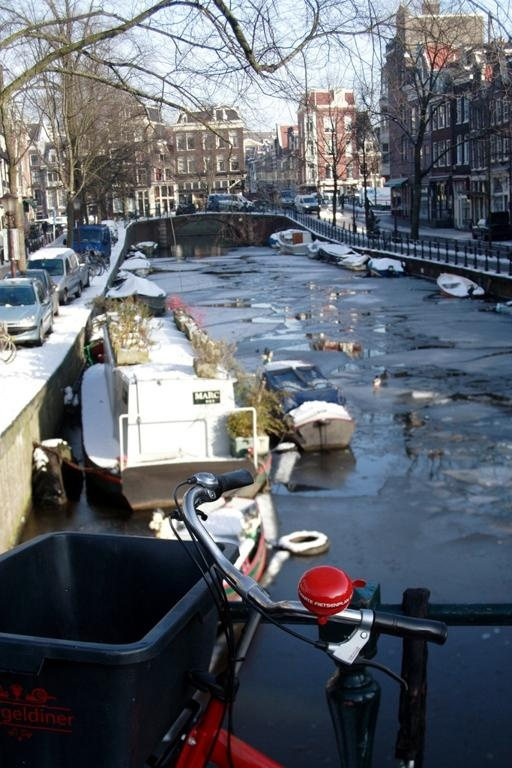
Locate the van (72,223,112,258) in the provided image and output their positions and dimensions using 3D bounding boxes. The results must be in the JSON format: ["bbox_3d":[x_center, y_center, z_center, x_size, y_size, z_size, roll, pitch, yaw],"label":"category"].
[{"bbox_3d":[-12.185,-10.551,46.216,2.603,2.398,4.362,0,5,-4],"label":"van"}]

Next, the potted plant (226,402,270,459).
[{"bbox_3d":[-0.215,0.925,12.210,1.079,1.254,0.915,-1,-4,0],"label":"potted plant"}]

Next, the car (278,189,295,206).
[{"bbox_3d":[4.603,-26.815,91.928,2.722,2.534,4.605,-3,12,-5],"label":"car"}]

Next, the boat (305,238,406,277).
[{"bbox_3d":[8.215,-10.588,52.404,2.528,1.649,10.550,21,8,-30],"label":"boat"}]

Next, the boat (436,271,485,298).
[{"bbox_3d":[11.501,-5.539,36.078,0.869,1.369,2.687,-9,11,-33],"label":"boat"}]

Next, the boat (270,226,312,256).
[{"bbox_3d":[3.960,-15.329,69.716,2.921,1.587,5.396,-4,16,-2],"label":"boat"}]

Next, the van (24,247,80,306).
[{"bbox_3d":[-9.667,-5.376,30.581,1.999,1.909,4.436,-1,12,-2],"label":"van"}]
